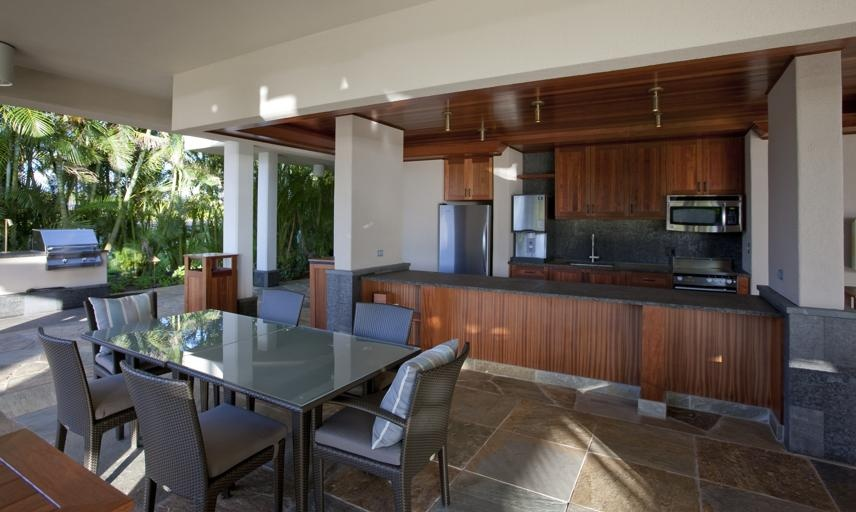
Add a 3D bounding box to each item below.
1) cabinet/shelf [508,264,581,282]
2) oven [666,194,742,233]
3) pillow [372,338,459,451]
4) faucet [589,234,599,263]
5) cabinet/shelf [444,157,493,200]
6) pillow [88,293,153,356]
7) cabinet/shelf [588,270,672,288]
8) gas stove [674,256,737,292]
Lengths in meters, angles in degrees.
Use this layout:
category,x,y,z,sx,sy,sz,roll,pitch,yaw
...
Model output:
category,x,y,z,sx,sy,sz,roll,pitch,yaw
cabinet/shelf,1.804,0.228,8.335,1.125,0.233,0.139,1,5,25
oven,3.987,-0.569,7.891,0.959,0.530,0.546,2,-7,22
pillow,-0.121,1.211,4.749,0.588,0.842,1.196,7,2,24
faucet,2.637,-0.139,8.562,0.165,0.449,0.249,0,5,13
cabinet/shelf,0.701,-1.258,8.741,0.784,0.617,0.289,1,0,23
pillow,-3.171,0.710,5.634,0.252,0.474,0.724,3,3,35
cabinet/shelf,2.933,0.304,7.923,1.155,0.218,0.142,0,5,13
gas stove,3.966,0.366,7.827,0.807,0.683,0.563,4,7,25
